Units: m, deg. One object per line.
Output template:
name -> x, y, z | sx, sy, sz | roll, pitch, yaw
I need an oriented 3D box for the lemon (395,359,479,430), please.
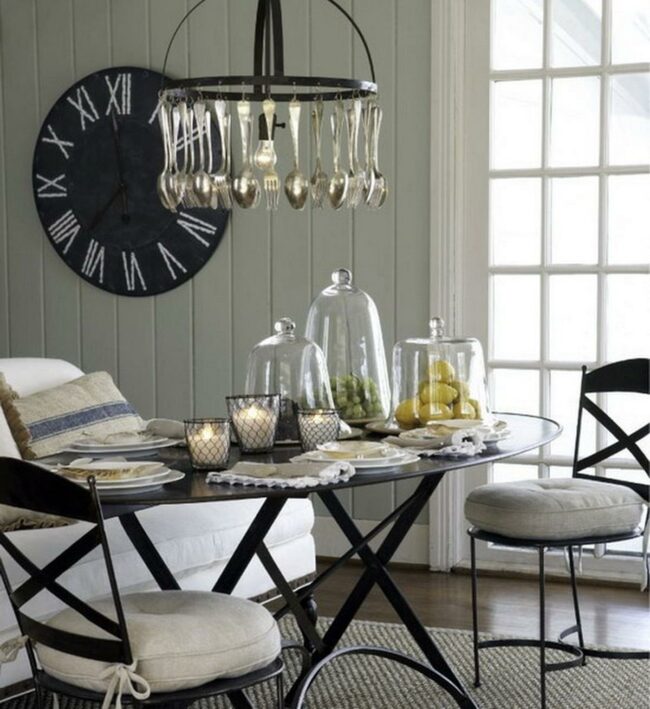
lemon -> 0.276, 0.104, 1.873 | 0.164, 0.144, 0.168 | -1, -6, 2

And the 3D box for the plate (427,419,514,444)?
plate -> 0.331, 0.163, 1.696 | 0.101, 0.025, 0.083 | -3, 3, -36

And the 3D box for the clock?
clock -> -0.829, -0.756, 3.408 | 1.080, 1.242, 0.120 | 2, 2, 9

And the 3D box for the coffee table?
coffee table -> 0.069, 0.539, 1.997 | 0.440, 0.419, 0.831 | -4, 0, 37
